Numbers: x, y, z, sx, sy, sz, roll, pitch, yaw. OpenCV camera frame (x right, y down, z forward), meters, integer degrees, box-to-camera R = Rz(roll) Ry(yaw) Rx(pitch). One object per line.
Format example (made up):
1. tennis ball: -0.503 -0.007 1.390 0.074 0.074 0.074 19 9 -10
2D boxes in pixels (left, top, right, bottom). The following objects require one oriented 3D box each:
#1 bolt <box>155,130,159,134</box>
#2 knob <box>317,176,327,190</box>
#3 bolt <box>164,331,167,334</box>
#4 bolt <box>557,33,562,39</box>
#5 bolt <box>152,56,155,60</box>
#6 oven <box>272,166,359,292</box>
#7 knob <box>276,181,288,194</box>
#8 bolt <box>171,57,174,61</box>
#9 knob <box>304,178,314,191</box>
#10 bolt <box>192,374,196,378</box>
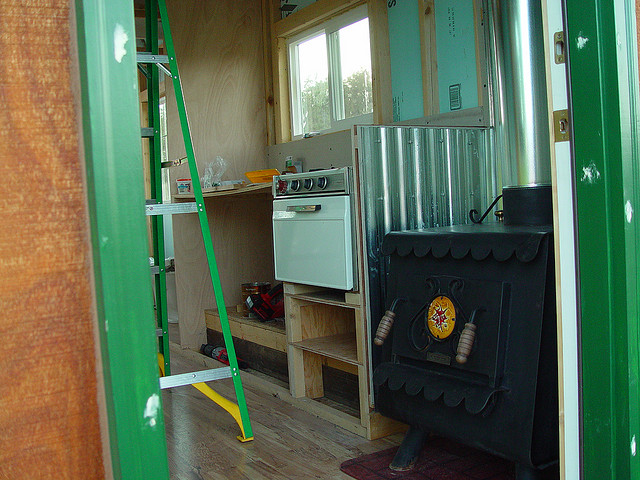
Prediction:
1. bolt: -0.903 -0.593 2.857 0.010 0.019 0.017 0 4 29
2. knob: 0.002 -0.279 2.553 0.038 0.062 0.016 7 6 39
3. bolt: -0.885 0.524 2.950 0.013 0.015 0.003 10 -16 8
4. bolt: 0.589 -0.503 1.283 0.012 0.015 0.005 -3 -1 15
5. bolt: -0.741 -0.804 2.300 0.014 0.017 0.004 -1 3 -12
6. oven: 0.013 -0.064 2.766 0.543 0.606 0.277 1 4 41
7. knob: -0.212 -0.293 2.845 0.059 0.051 0.018 5 5 36
8. bolt: -0.664 -0.808 2.320 0.012 0.013 0.003 31 10 -1
9. knob: -0.064 -0.282 2.663 0.018 0.058 0.043 4 -7 -39
10. bolt: -0.566 0.606 2.322 0.015 0.015 0.005 -5 4 -42
